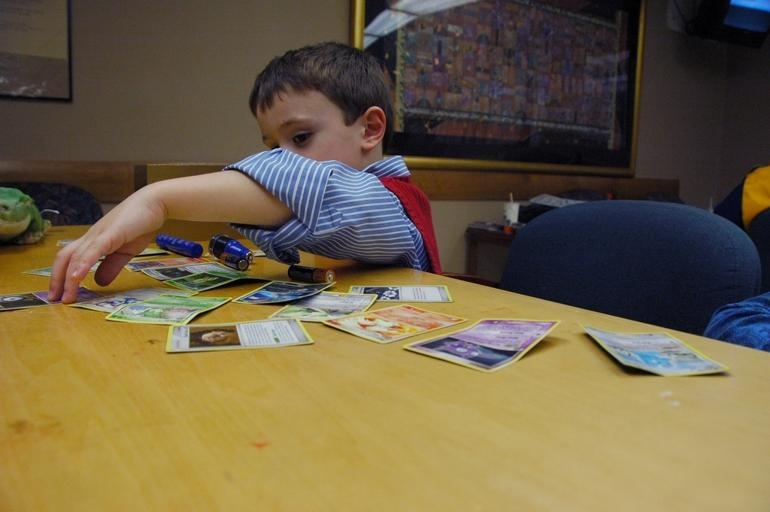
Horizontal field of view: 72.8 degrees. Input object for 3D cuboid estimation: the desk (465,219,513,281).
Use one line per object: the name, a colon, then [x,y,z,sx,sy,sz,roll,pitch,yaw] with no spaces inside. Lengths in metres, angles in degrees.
desk: [0.490,-0.046,2.539,0.229,0.288,0.316,-2,10,-26]
